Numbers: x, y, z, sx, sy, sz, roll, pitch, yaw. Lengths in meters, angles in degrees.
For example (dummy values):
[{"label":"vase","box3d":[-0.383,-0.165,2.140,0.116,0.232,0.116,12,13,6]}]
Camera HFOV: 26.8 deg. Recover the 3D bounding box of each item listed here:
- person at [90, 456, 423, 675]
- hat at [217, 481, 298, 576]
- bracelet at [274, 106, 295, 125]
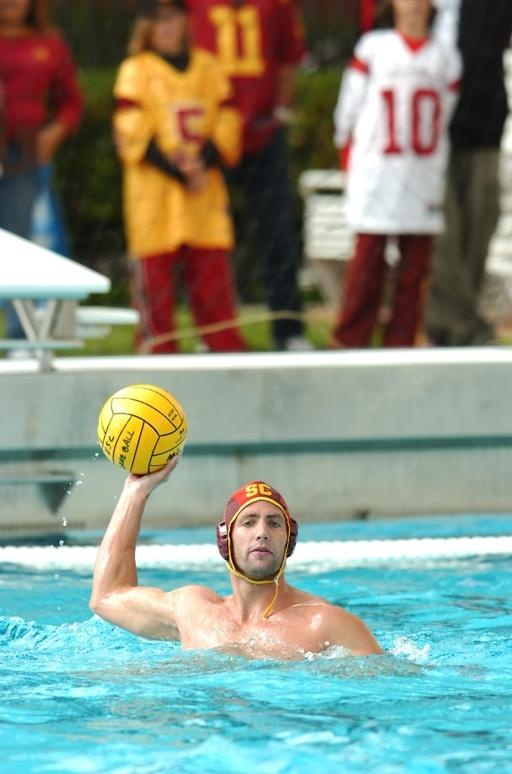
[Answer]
[{"label":"person","box3d":[-0.029,0.551,3.155,0.927,0.307,0.896,0,63,-1]},{"label":"hat","box3d":[-0.008,0.376,3.075,0.224,0.201,0.306,-9,31,-4]},{"label":"bracelet","box3d":[0.139,-1.388,5.484,0.089,0.089,0.021,12,-3,-4]}]
